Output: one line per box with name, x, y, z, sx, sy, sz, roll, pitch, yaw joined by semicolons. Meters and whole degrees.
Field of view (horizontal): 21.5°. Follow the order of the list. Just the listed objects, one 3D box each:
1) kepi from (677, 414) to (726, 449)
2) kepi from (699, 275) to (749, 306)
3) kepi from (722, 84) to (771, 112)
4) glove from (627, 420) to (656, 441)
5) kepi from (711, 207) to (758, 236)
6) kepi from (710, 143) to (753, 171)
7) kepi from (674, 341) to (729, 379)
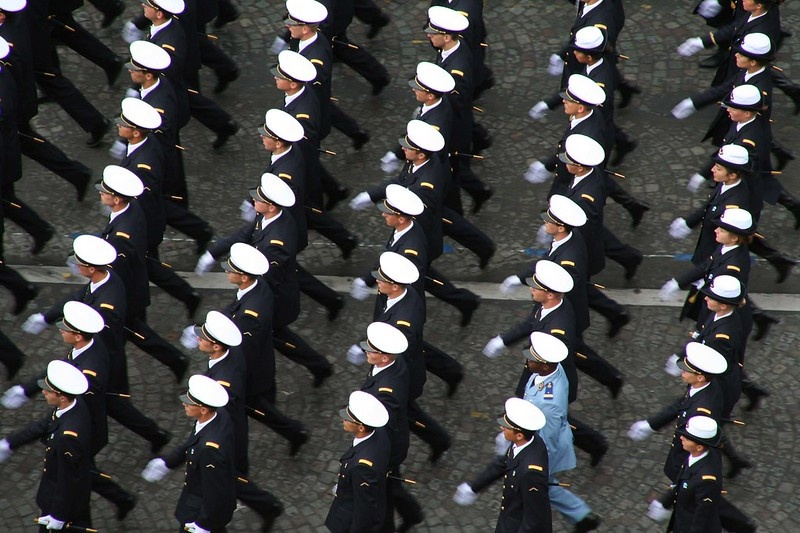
kepi;3.755;2.063;26.137;0.615;0.374;0.190;7;-53;-6
kepi;4.241;0.328;27.436;0.616;0.396;0.193;8;-55;-6
kepi;4.819;-2.319;29.320;0.631;0.446;0.155;13;-58;20
glove;3.131;2.146;27.515;0.286;0.323;0.369;51;-6;5
kepi;4.466;-0.581;28.001;0.589;0.371;0.144;2;-55;-14
kepi;4.542;-1.458;28.660;0.555;0.365;0.149;13;-54;1
kepi;3.839;1.211;26.766;0.687;0.182;0.416;12;-26;2
